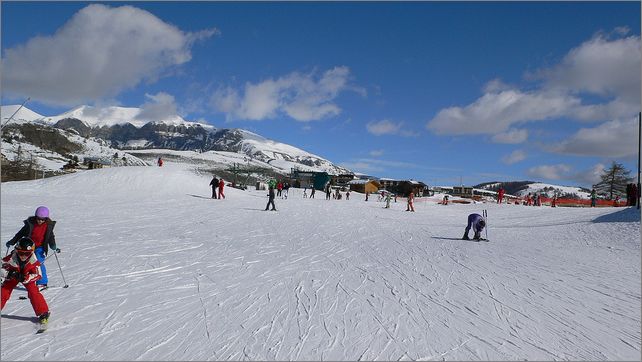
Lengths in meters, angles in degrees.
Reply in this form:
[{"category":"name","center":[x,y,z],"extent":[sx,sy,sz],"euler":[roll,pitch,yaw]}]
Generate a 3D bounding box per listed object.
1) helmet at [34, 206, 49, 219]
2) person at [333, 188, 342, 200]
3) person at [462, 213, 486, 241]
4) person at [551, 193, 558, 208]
[{"category":"helmet","center":[-10.781,1.222,13.756],"extent":[0.436,0.436,0.570],"euler":[14,20,-38]},{"category":"person","center":[2.435,2.090,51.313],"extent":[1.015,0.862,1.443],"euler":[-1,-36,-1]},{"category":"person","center":[8.743,2.624,20.331],"extent":[1.068,1.534,1.660],"euler":[5,8,22]},{"category":"person","center":[22.629,1.881,34.441],"extent":[0.285,1.155,1.183],"euler":[7,9,30]}]
